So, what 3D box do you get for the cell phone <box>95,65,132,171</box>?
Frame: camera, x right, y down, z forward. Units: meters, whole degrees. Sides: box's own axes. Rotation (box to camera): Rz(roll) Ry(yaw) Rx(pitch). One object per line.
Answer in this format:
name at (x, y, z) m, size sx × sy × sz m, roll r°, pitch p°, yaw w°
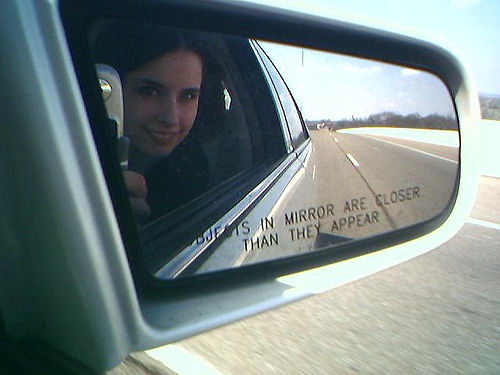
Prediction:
cell phone at (-0.406, -0.208, 1.243) m, size 0.025 × 0.324 × 0.097 m, roll 3°, pitch 11°, yaw 24°
